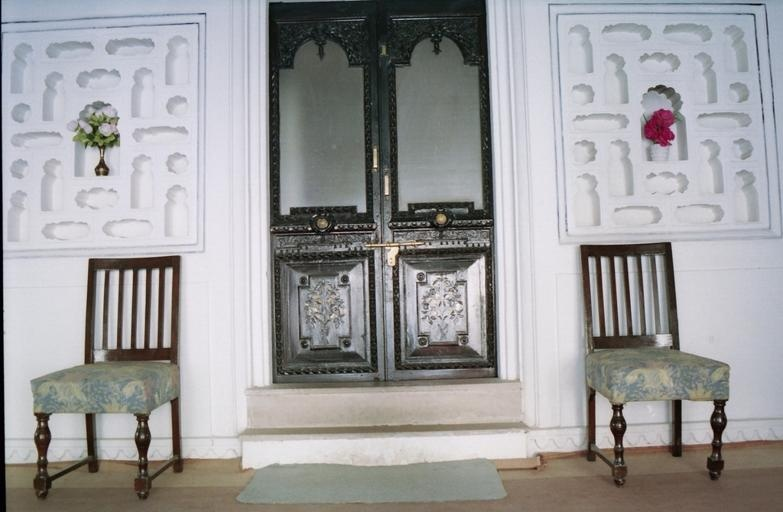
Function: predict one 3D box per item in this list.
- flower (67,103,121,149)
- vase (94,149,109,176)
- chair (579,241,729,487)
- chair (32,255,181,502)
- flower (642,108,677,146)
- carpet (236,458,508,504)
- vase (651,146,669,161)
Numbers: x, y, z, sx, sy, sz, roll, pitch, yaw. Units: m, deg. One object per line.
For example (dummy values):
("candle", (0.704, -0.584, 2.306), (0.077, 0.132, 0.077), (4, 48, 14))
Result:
("flower", (-2.259, -1.016, 6.481), (0.434, 0.215, 0.408), (-23, 11, -42))
("vase", (-2.208, -0.707, 6.484), (0.102, 0.185, 0.123), (-1, 0, -13))
("chair", (1.868, 0.737, 6.143), (0.943, 1.761, 0.604), (-1, 0, 10))
("chair", (-2.032, 0.838, 6.134), (1.008, 1.493, 0.619), (-1, 0, -9))
("flower", (2.046, -0.962, 6.480), (0.260, 0.293, 0.175), (-1, 0, 11))
("carpet", (-0.134, 1.575, 6.008), (1.848, 0.254, 0.384), (-1, 0, 1))
("vase", (2.032, -0.777, 6.446), (0.117, 0.093, 0.121), (0, 3, 20))
